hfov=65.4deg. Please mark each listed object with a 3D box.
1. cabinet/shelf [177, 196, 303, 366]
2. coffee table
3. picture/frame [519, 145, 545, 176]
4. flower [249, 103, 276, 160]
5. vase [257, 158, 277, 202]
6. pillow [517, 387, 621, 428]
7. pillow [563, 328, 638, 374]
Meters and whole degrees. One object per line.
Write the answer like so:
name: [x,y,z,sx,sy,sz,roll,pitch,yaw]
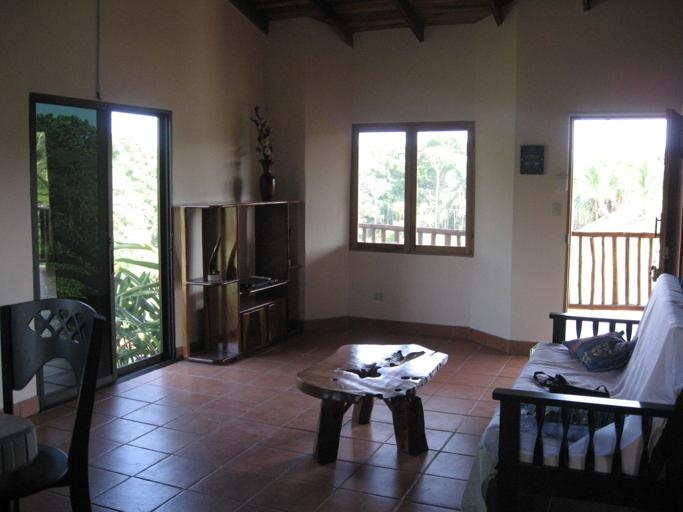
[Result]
cabinet/shelf: [-1.089,0.240,6.204,0.485,1.679,1.743,3,7,23]
coffee table: [0.197,0.937,3.800,0.688,0.361,1.064,0,6,9]
picture/frame: [2.055,-1.033,5.723,0.311,0.405,0.127,0,2,19]
flower: [-0.978,-1.510,6.500,0.279,0.666,0.554,-1,9,-8]
vase: [-0.906,-0.927,6.469,0.181,0.507,0.453,0,9,-5]
pillow: [1.465,0.949,3.312,0.411,0.131,0.309,-3,0,-12]
pillow: [1.982,0.718,3.998,0.309,0.108,0.301,-17,19,2]
